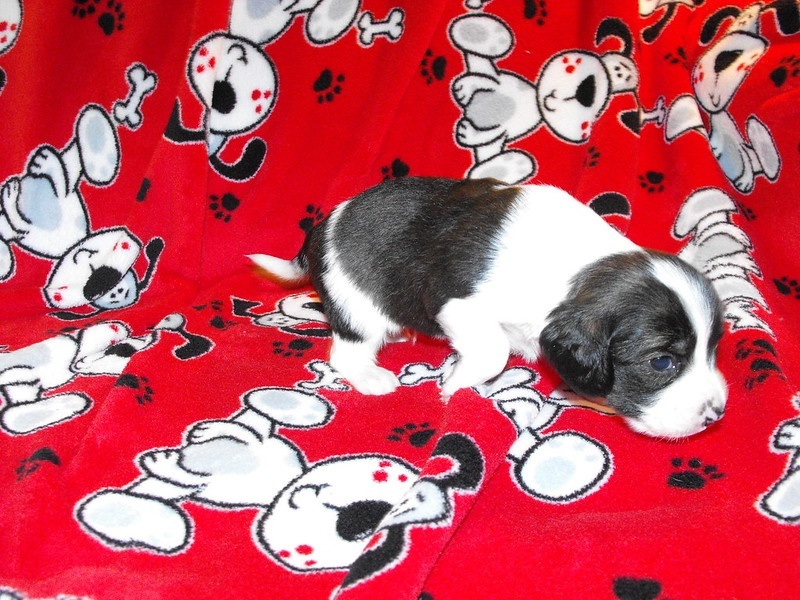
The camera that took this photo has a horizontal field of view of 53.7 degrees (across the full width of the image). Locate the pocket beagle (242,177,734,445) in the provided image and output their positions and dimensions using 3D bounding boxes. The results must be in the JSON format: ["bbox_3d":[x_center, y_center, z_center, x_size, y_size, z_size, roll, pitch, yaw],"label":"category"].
[{"bbox_3d":[0.428,-0.041,2.948,1.997,0.784,0.674,18,46,28],"label":"pocket beagle"}]
